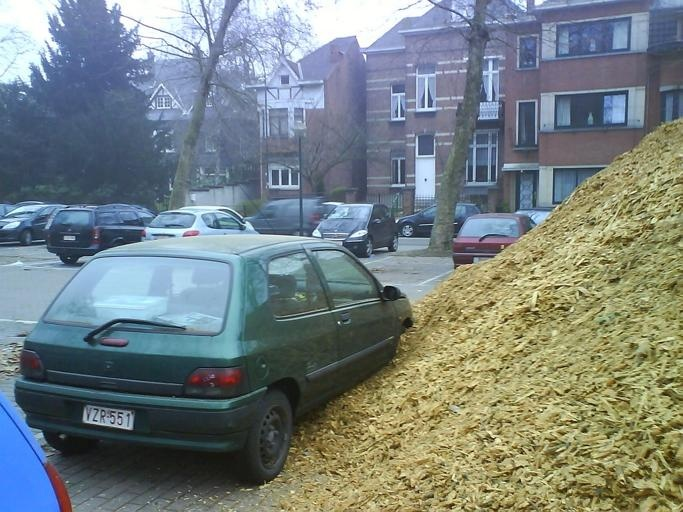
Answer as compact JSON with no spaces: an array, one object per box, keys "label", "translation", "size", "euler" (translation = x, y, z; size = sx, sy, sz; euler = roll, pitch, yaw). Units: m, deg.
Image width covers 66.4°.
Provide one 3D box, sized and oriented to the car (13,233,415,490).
[{"label":"car","translation":[-0.921,0.761,4.422],"size":[2.886,1.797,1.535],"euler":[-5,8,-40]}]
